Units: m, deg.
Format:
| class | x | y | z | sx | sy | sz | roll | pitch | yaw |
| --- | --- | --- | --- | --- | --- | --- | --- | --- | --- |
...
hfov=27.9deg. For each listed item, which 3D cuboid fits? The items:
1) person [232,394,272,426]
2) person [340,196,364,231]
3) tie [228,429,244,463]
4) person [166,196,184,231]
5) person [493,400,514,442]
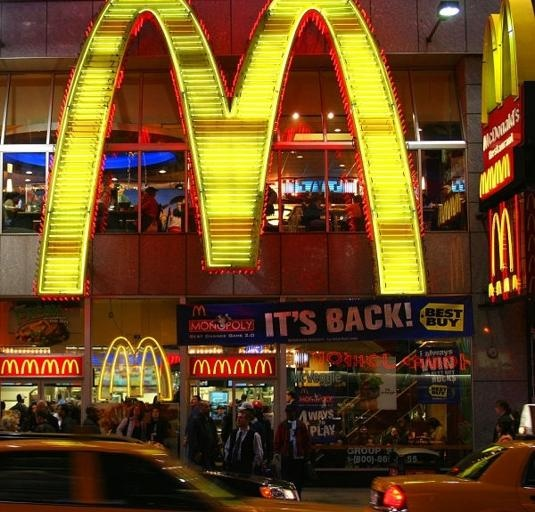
| class | x | y | z | sx | sy | sz | roll | pitch | yaw |
| --- | --- | --- | --- | --- | --- | --- | --- | --- | --- |
| person | -0.282 | 3.040 | 21.561 | 0.808 | 0.411 | 0.544 | 4 | -4 | -23 |
| person | 1.792 | -0.903 | 21.974 | 0.435 | 0.779 | 0.158 | -2 | -13 | 5 |
| tie | -0.514 | 3.127 | 17.762 | 0.185 | 0.491 | 0.280 | 15 | -13 | -36 |
| person | -1.854 | -0.886 | 21.891 | 0.341 | 0.771 | 0.177 | 0 | -13 | -4 |
| person | 4.027 | 2.776 | 18.150 | 0.411 | 0.383 | 1.000 | -9 | 23 | 16 |
